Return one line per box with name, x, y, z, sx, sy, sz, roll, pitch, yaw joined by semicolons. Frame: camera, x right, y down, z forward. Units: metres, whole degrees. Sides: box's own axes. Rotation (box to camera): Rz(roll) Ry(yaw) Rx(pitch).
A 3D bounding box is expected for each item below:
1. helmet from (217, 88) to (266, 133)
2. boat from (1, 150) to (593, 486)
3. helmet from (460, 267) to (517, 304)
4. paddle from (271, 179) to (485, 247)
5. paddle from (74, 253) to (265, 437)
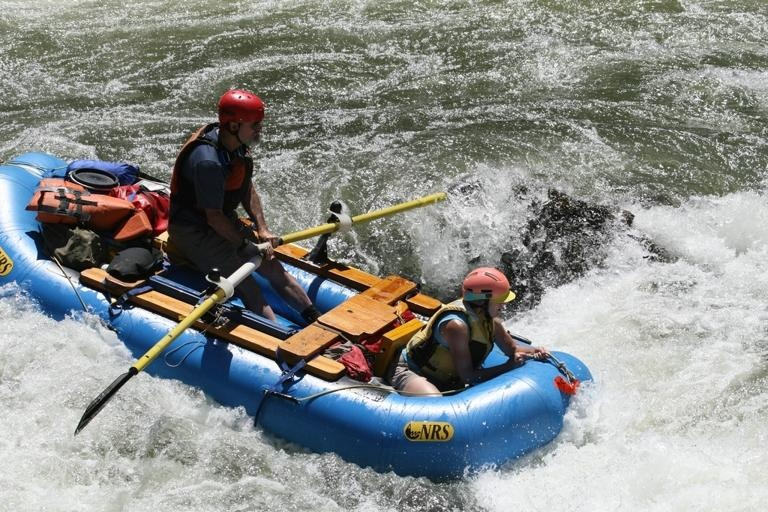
helmet;-1.605;-1.684;10.152;0.592;0.405;0.395;5;36;-9
boat;-1.694;0.874;10.301;6.633;1.138;3.132;27;39;22
helmet;1.132;0.298;9.762;0.638;0.334;0.426;0;16;5
paddle;-0.064;-0.578;12.951;2.862;0.320;0.379;-17;89;-29
paddle;-2.243;0.791;9.726;0.342;0.690;2.799;22;48;28
